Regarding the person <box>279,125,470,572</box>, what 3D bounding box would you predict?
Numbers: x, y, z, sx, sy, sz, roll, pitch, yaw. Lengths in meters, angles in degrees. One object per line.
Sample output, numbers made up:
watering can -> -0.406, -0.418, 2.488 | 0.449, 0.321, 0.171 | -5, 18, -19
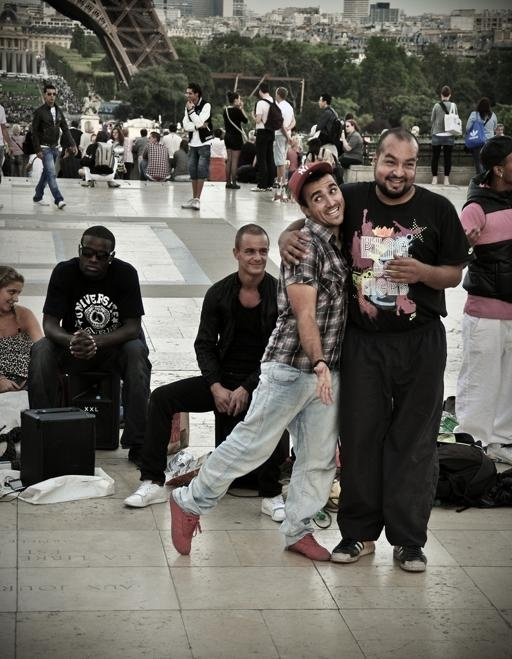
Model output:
person -> 0.584, 0.105, 2.848 | 0.446, 1.793, 0.397 | 2, 3, -32

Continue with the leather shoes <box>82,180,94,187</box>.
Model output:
leather shoes -> -4.304, -3.744, 17.820 | 0.297, 0.126, 0.202 | 0, 10, -12

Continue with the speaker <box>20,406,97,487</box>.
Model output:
speaker -> -1.060, 0.648, 3.727 | 0.387, 0.397, 0.327 | 2, 3, -18

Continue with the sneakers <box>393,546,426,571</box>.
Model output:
sneakers -> 0.641, 0.953, 2.895 | 0.064, 0.060, 0.162 | -1, 9, -13

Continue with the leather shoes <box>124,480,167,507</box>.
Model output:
leather shoes -> -0.548, 0.842, 3.556 | 0.083, 0.103, 0.248 | 10, 6, 39

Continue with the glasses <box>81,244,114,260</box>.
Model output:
glasses -> -0.991, -0.472, 4.337 | 0.200, 0.083, 0.121 | 2, 2, -14

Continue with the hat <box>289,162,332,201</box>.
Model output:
hat -> 0.221, -0.612, 2.822 | 0.167, 0.176, 0.247 | 3, 2, 1

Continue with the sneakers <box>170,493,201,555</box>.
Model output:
sneakers -> -0.301, 0.827, 2.955 | 0.124, 0.248, 0.093 | -9, -13, 30

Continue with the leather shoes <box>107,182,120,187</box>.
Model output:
leather shoes -> -3.632, -3.710, 17.685 | 0.256, 0.146, 0.142 | -6, 25, -9

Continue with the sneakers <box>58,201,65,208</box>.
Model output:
sneakers -> -3.804, -2.464, 13.650 | 0.080, 0.088, 0.210 | -7, -7, -21

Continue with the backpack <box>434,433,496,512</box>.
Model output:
backpack -> 1.107, 0.772, 3.739 | 0.422, 0.173, 0.331 | -1, 34, -3

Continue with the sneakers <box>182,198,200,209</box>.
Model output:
sneakers -> -1.311, -2.646, 14.600 | 0.258, 0.142, 0.382 | 0, 0, 9

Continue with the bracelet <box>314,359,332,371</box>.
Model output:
bracelet -> 0.252, 0.138, 2.619 | 0.045, 0.023, 0.053 | -22, -8, -1
